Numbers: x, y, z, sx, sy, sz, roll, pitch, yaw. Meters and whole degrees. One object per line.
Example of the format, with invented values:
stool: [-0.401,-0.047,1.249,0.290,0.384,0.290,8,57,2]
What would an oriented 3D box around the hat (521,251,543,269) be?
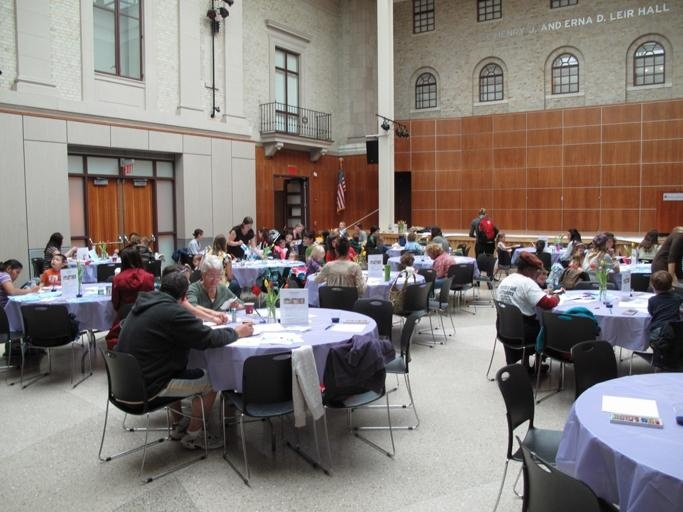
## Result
hat: [2.362,0.051,7.429,0.232,0.094,0.209,28,10,23]

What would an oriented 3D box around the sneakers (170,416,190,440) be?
sneakers: [-1.757,1.880,6.491,0.114,0.161,0.345,3,15,4]

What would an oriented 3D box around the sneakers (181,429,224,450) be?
sneakers: [-1.484,1.945,6.338,0.309,0.153,0.225,8,-4,-9]

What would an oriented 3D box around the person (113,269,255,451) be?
person: [-1.635,1.172,6.201,1.210,1.842,1.041,-18,26,-41]

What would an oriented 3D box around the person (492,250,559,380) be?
person: [2.391,0.749,7.685,0.808,1.641,0.811,-3,8,2]

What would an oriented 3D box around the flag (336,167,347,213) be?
flag: [-0.047,-2.429,22.265,0.370,1.661,0.605,-1,5,4]

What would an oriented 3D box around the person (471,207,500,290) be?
person: [3.572,-0.296,15.012,0.618,1.904,0.657,-6,19,0]

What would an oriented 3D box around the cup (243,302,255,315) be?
cup: [-1.097,0.625,7.015,0.111,0.105,0.117,-2,1,0]
